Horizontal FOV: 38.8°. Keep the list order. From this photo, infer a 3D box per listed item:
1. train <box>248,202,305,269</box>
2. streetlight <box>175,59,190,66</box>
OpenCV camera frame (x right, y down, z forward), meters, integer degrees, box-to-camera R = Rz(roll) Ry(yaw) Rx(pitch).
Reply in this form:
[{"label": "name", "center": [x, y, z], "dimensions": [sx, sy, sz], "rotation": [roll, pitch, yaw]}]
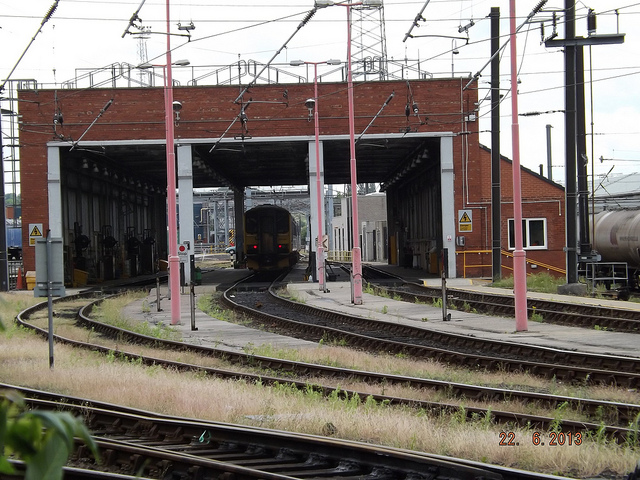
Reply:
[{"label": "train", "center": [-2.888, -0.333, 54.609], "dimensions": [2.447, 3.622, 1.016], "rotation": [-2, 0, -27]}, {"label": "streetlight", "center": [-4.763, -6.233, 32.013], "dimensions": [0.506, 0.208, 0.439], "rotation": [-2, 0, -24]}]
